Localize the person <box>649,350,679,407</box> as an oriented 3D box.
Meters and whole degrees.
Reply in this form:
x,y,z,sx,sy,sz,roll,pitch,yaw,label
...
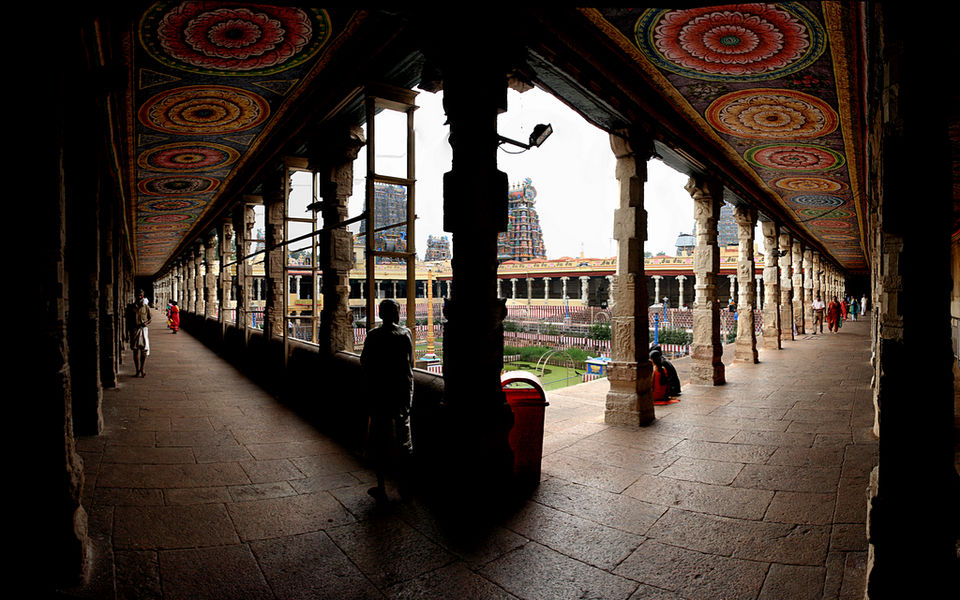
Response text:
x,y,z,sx,sy,sz,roll,pitch,yaw,label
2.660,1.091,9.856,0.404,0.803,0.883,-2,-1,14,person

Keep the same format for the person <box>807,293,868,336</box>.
x,y,z,sx,sy,sz,roll,pitch,yaw,label
13.995,0.628,26.876,1.068,1.472,0.443,2,-17,31,person

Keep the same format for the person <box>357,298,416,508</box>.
x,y,z,sx,sy,sz,roll,pitch,yaw,label
-0.865,0.927,6.494,0.457,1.852,0.530,-1,-1,2,person

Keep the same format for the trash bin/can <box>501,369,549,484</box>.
x,y,z,sx,sy,sz,roll,pitch,yaw,label
0.436,1.266,6.696,0.428,1.094,0.372,-1,-1,-17,trash bin/can
